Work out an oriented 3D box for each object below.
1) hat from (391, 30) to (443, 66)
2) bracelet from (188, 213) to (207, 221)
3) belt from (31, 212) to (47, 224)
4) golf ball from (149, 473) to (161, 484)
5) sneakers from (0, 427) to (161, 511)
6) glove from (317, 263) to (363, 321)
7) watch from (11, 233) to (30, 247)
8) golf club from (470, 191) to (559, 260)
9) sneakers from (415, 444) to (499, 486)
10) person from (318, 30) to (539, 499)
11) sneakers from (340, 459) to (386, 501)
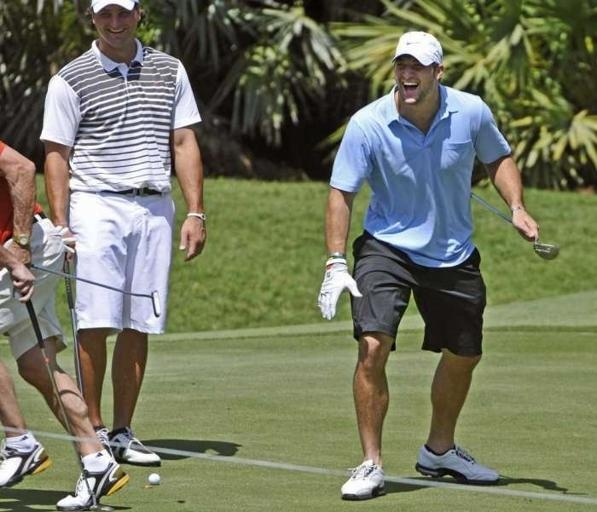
[{"bbox_3d":[0.536,-0.925,4.871,0.207,0.176,0.252,-1,5,13],"label":"hat"},{"bbox_3d":[-0.515,-0.196,5.500,0.067,0.025,0.061,15,3,1],"label":"bracelet"},{"bbox_3d":[-1.140,-0.167,4.782,0.043,0.034,0.043,-31,-5,-9],"label":"belt"},{"bbox_3d":[-0.613,0.955,4.657,0.040,0.042,0.040,21,12,-5],"label":"golf ball"},{"bbox_3d":[-0.982,0.861,4.429,0.521,0.286,0.249,0,5,22],"label":"sneakers"},{"bbox_3d":[0.196,0.176,4.831,0.217,0.233,0.080,-6,-17,42],"label":"glove"},{"bbox_3d":[-1.146,-0.063,4.509,0.054,0.054,0.022,-2,9,-21],"label":"watch"},{"bbox_3d":[2.012,-0.247,10.165,1.090,0.177,0.175,37,32,7],"label":"golf club"},{"bbox_3d":[0.698,0.921,4.785,0.355,0.162,0.131,6,-1,14],"label":"sneakers"},{"bbox_3d":[0.589,-0.010,4.806,0.993,1.985,0.676,-2,4,-10],"label":"person"},{"bbox_3d":[0.265,0.927,4.458,0.087,0.111,0.225,-3,-6,26],"label":"sneakers"}]
